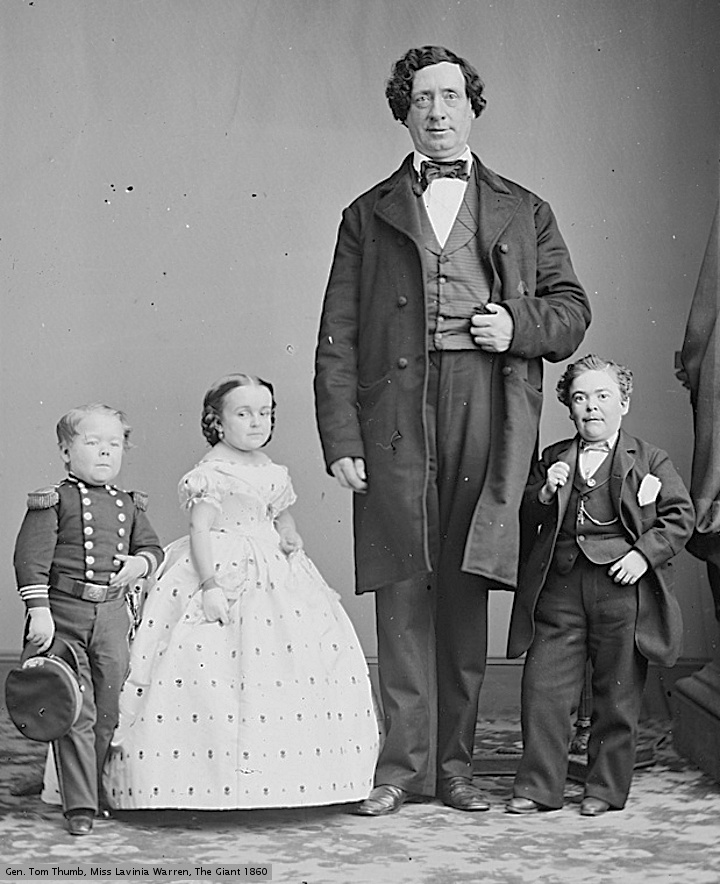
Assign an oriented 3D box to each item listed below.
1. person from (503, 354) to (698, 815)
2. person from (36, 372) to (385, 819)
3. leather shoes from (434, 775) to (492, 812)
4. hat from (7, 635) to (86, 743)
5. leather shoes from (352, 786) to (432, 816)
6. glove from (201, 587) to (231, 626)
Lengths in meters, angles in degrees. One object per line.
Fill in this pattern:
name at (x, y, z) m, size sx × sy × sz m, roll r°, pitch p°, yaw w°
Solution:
person at (0.533, 0.301, 2.771) m, size 0.408 × 0.991 × 0.297 m, roll 0°, pitch -2°, yaw 8°
person at (-0.263, 0.308, 2.708) m, size 0.498 × 0.923 × 0.519 m, roll -1°, pitch -3°, yaw 42°
leather shoes at (0.228, 0.786, 2.732) m, size 0.048 × 0.052 × 0.135 m, roll 5°, pitch -14°, yaw -27°
hat at (-0.628, 0.499, 2.505) m, size 0.143 × 0.201 × 0.071 m, roll 2°, pitch 1°, yaw 12°
leather shoes at (0.069, 0.779, 2.678) m, size 0.047 × 0.056 × 0.143 m, roll -13°, pitch -19°, yaw 34°
glove at (-0.310, 0.349, 2.642) m, size 0.053 × 0.071 × 0.031 m, roll 1°, pitch -12°, yaw 6°
